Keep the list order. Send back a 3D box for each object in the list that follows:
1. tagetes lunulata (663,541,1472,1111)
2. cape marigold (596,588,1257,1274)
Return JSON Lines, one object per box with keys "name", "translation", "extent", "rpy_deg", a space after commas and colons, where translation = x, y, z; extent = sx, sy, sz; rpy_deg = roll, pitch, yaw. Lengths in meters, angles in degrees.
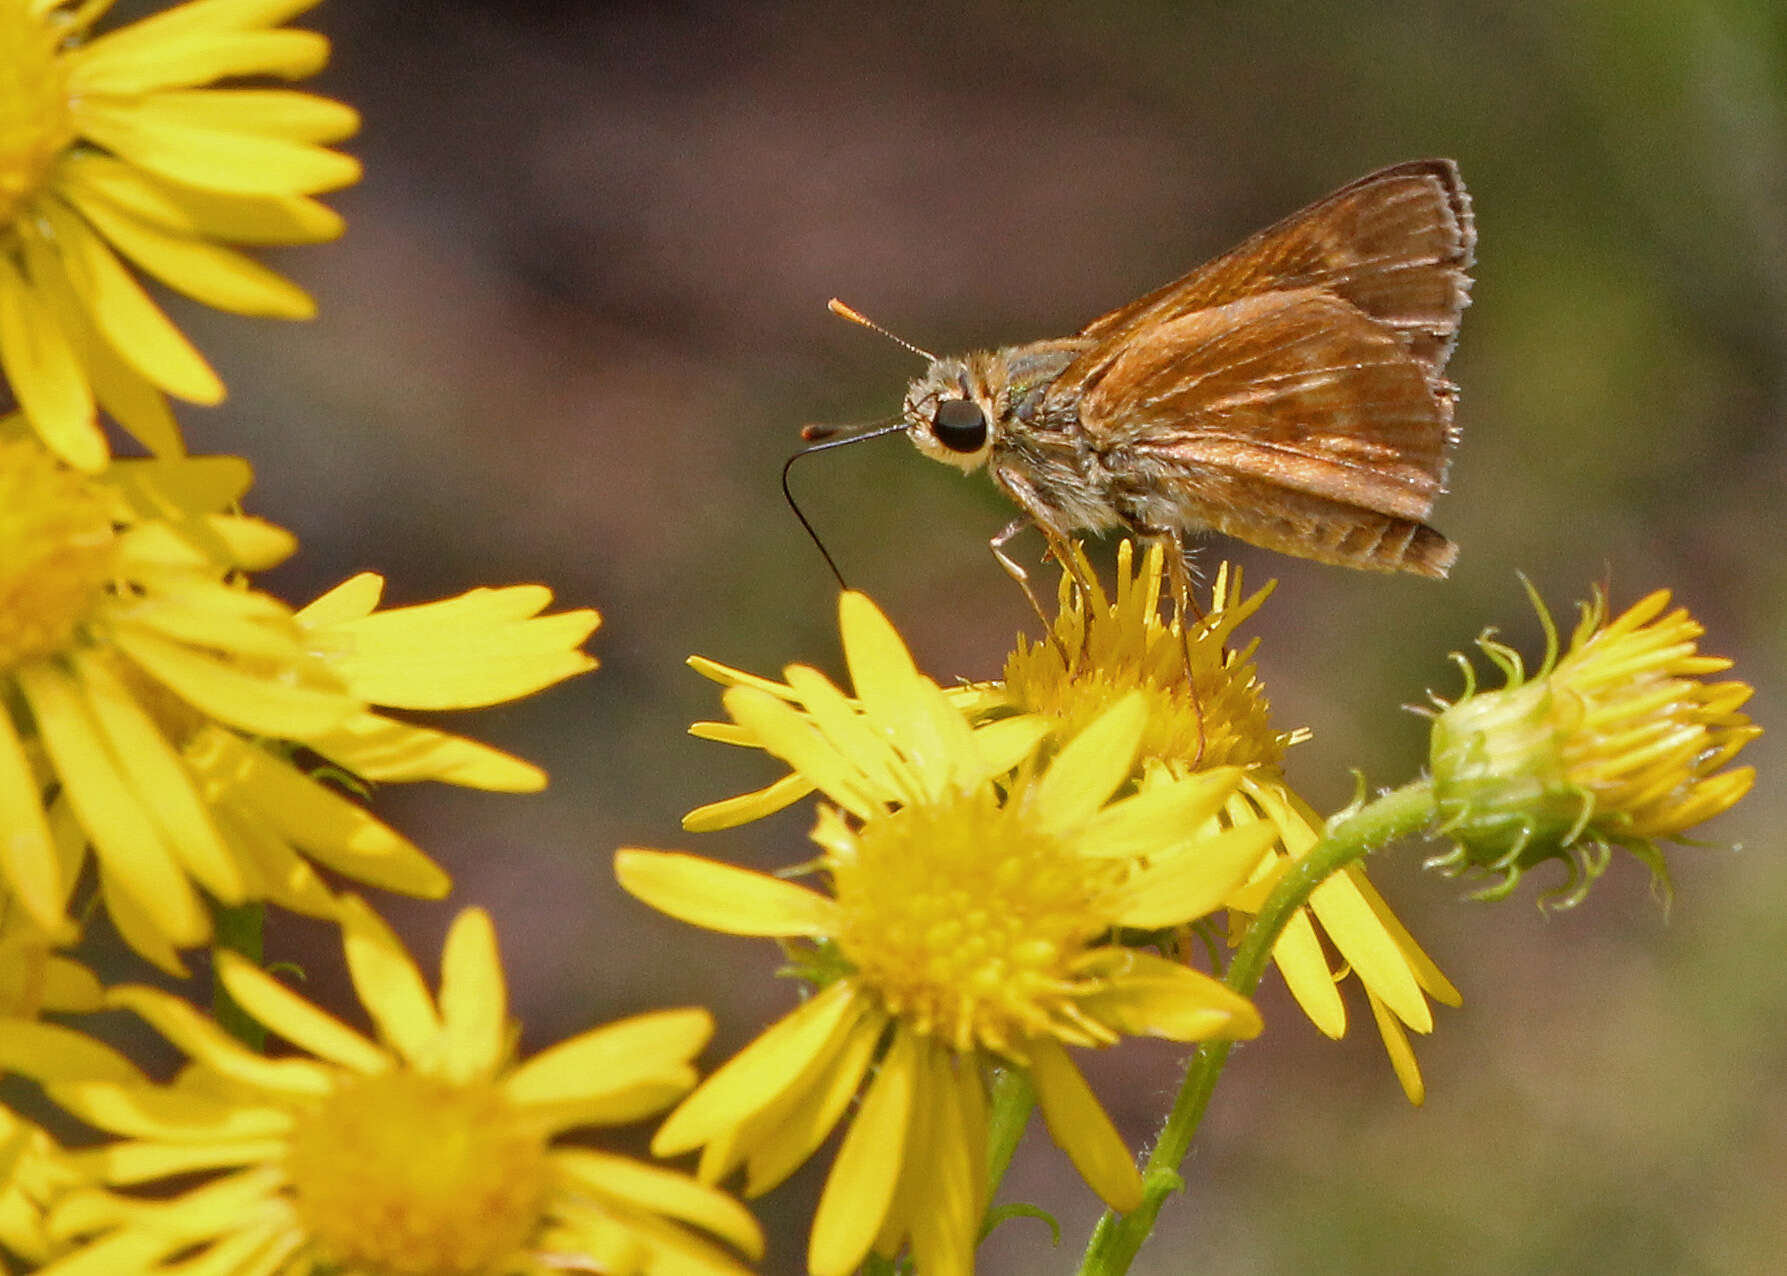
{"name": "tagetes lunulata", "translation": [0.384, 0.149, 3.031], "extent": [1.060, 1.003, 0.442], "rpy_deg": [-2, -61, -49]}
{"name": "cape marigold", "translation": [0.047, 0.324, 2.450], "extent": [0.673, 0.534, 0.565], "rpy_deg": [-6, -60, -9]}
